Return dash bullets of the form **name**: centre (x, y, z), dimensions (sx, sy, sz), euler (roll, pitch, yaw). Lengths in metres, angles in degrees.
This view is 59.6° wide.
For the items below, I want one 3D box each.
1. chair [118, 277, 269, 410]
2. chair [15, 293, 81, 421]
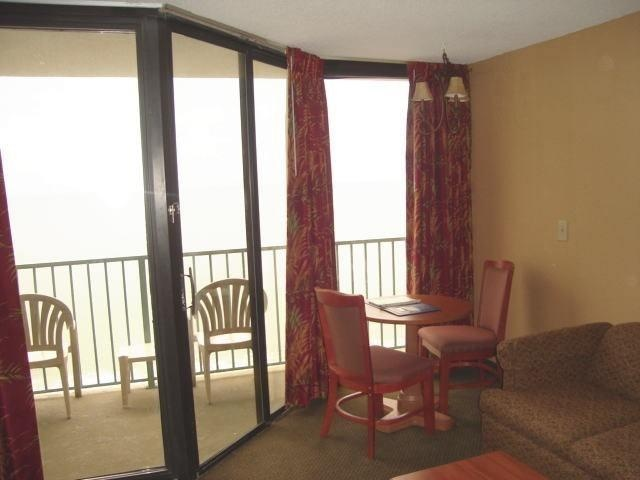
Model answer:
- **chair**: centre (-0.872, 0.687, 3.703), dimensions (0.837, 0.755, 0.323), euler (-6, 7, -40)
- **chair**: centre (-1.639, 0.679, 3.450), dimensions (0.290, 0.707, 0.160), euler (-6, 13, -23)
